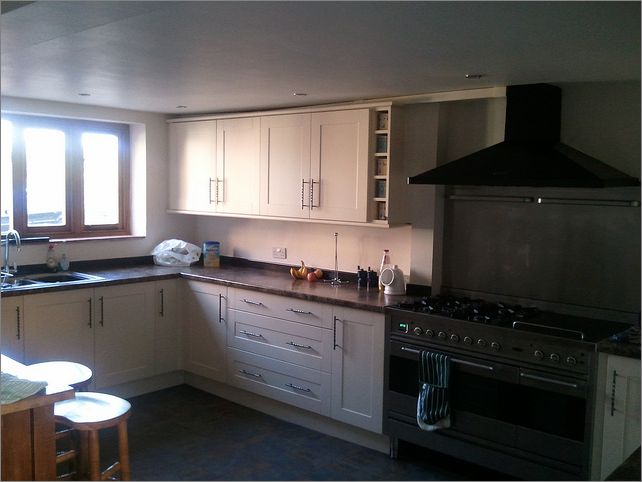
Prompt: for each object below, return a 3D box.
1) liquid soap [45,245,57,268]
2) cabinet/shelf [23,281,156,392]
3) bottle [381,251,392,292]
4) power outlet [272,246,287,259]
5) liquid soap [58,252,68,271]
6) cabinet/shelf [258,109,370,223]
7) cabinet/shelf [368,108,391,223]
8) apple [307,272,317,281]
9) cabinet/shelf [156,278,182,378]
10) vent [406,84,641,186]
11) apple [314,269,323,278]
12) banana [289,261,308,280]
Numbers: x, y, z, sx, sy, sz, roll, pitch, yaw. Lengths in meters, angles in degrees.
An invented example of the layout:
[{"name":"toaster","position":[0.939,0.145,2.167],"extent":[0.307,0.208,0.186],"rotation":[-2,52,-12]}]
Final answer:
[{"name":"liquid soap","position":[-2.451,0.139,4.775],"extent":[0.109,0.224,0.090],"rotation":[-6,12,-40]},{"name":"cabinet/shelf","position":[-1.887,0.726,4.204],"extent":[1.153,0.846,0.429],"rotation":[-3,4,-41]},{"name":"bottle","position":[0.539,0.239,4.319],"extent":[0.099,0.326,0.277],"rotation":[2,9,6]},{"name":"power outlet","position":[-0.406,0.113,5.144],"extent":[0.188,0.119,0.020],"rotation":[8,11,39]},{"name":"liquid soap","position":[-2.374,0.198,4.839],"extent":[0.086,0.155,0.158],"rotation":[-2,9,-23]},{"name":"cabinet/shelf","position":[-0.022,-0.642,4.419],"extent":[1.115,0.834,0.460],"rotation":[6,8,39]},{"name":"cabinet/shelf","position":[0.483,-0.596,4.137],"extent":[0.135,0.898,0.178],"rotation":[2,9,3]},{"name":"apple","position":[-0.077,0.317,4.728],"extent":[0.083,0.066,0.075],"rotation":[4,5,3]},{"name":"cabinet/shelf","position":[-1.438,0.788,4.918],"extent":[0.109,0.857,0.296],"rotation":[7,11,32]},{"name":"vent","position":[1.440,-0.718,3.520],"extent":[1.259,0.704,0.671],"rotation":[8,11,39]},{"name":"apple","position":[-0.015,0.289,4.752],"extent":[0.071,0.066,0.069],"rotation":[-3,12,-4]},{"name":"banana","position":[-0.189,0.293,4.894],"extent":[0.138,0.149,0.171],"rotation":[-1,0,37]}]
